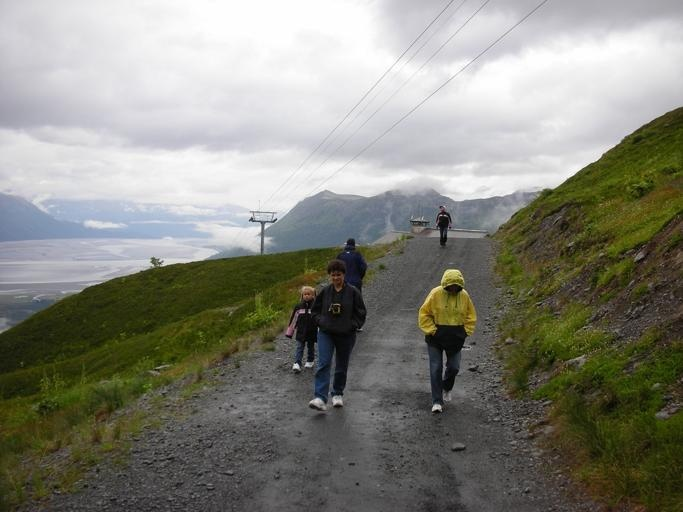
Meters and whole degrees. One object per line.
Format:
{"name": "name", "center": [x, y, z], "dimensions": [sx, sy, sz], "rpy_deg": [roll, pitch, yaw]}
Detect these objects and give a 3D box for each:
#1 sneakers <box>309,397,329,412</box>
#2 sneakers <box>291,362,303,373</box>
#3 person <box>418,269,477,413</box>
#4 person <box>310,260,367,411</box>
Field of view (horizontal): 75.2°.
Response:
{"name": "sneakers", "center": [-0.483, 3.067, 9.226], "dimensions": [0.195, 0.221, 0.455], "rpy_deg": [-33, -23, 2]}
{"name": "sneakers", "center": [-1.229, 2.977, 12.061], "dimensions": [0.256, 0.242, 0.343], "rpy_deg": [2, 5, -6]}
{"name": "person", "center": [2.180, 1.768, 9.408], "dimensions": [1.140, 2.986, 0.585], "rpy_deg": [2, 5, -1]}
{"name": "person", "center": [-0.126, 1.686, 9.321], "dimensions": [1.041, 3.190, 0.707], "rpy_deg": [2, 5, -5]}
